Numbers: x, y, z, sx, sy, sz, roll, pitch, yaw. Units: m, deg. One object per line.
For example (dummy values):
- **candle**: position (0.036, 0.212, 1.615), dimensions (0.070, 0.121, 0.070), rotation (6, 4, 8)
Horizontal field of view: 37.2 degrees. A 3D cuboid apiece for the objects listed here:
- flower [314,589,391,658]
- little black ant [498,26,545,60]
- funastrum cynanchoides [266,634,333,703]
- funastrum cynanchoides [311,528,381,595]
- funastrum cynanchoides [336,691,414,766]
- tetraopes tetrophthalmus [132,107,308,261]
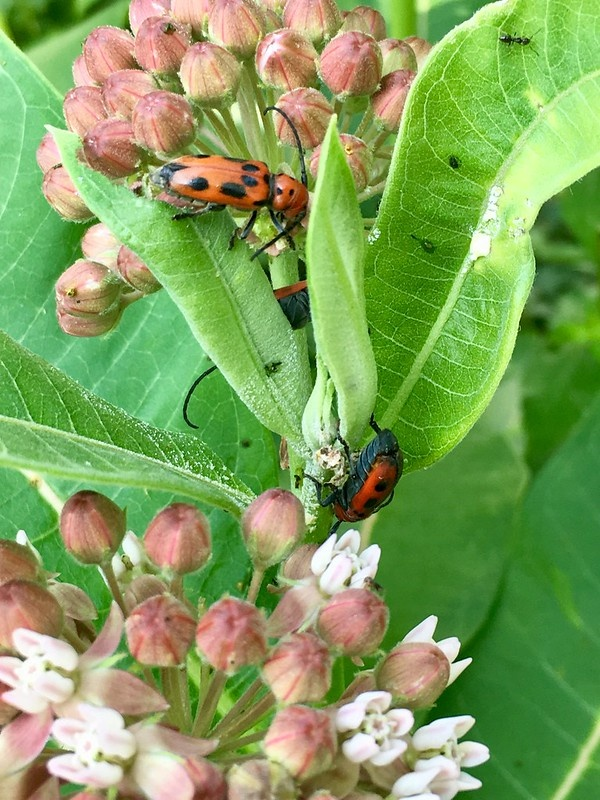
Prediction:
- **flower**: position (0.082, 0.360, 1.468), dimensions (0.099, 0.124, 0.096), rotation (-11, 84, -6)
- **little black ant**: position (0.390, -0.635, 1.579), dimensions (0.059, 0.017, 0.039), rotation (5, 59, -8)
- **funastrum cynanchoides**: position (-0.009, 0.429, 1.426), dimensions (0.093, 0.107, 0.063), rotation (12, 53, -22)
- **funastrum cynanchoides**: position (0.082, 0.279, 1.612), dimensions (0.107, 0.064, 0.122), rotation (-1, 21, 20)
- **funastrum cynanchoides**: position (0.119, 0.496, 1.405), dimensions (0.106, 0.061, 0.125), rotation (23, 81, 14)
- **tetraopes tetrophthalmus**: position (-0.102, -0.423, 1.888), dimensions (0.348, 0.192, 0.208), rotation (-17, 34, -18)
